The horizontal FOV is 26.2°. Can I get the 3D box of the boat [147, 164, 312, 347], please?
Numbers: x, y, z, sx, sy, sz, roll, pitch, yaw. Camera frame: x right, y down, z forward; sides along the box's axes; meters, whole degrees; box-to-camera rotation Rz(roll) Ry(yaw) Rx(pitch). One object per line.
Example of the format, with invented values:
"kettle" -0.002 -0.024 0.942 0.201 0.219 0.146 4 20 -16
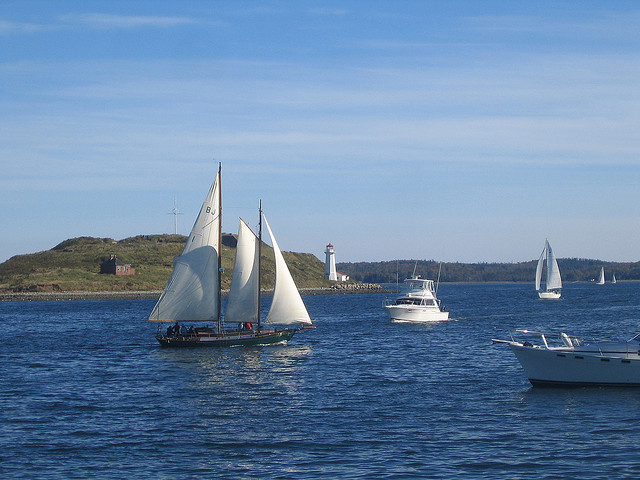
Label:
"boat" -9.200 6.310 154.301 19.240 24.628 16.001 -7 -4 19
